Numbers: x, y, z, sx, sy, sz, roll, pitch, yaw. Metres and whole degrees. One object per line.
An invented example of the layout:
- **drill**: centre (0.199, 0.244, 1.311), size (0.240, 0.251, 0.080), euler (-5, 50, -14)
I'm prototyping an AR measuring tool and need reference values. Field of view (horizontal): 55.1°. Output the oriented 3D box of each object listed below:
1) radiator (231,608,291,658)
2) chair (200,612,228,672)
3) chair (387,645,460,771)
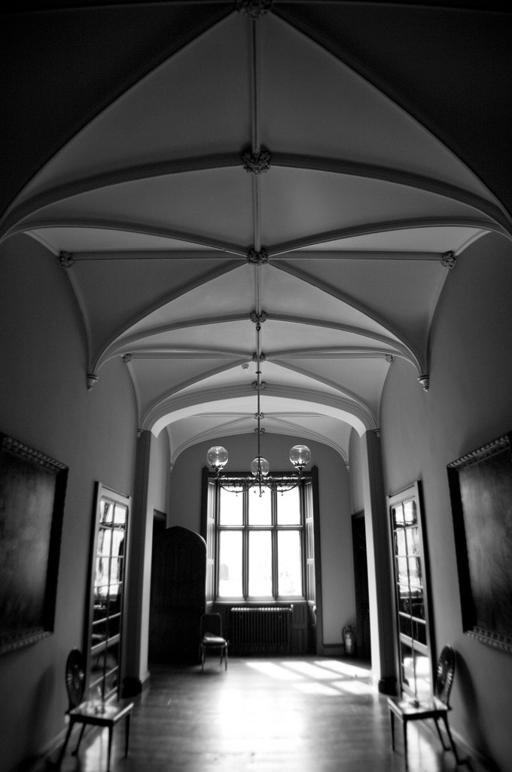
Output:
- **radiator**: centre (0.088, 4.879, 9.910), size (1.296, 0.925, 0.349), euler (4, -16, -8)
- **chair**: centre (-0.781, 4.551, 8.722), size (0.511, 1.234, 0.721), euler (2, -34, -2)
- **chair**: centre (1.427, 2.636, 4.153), size (0.585, 0.831, 1.319), euler (-4, -21, 15)
